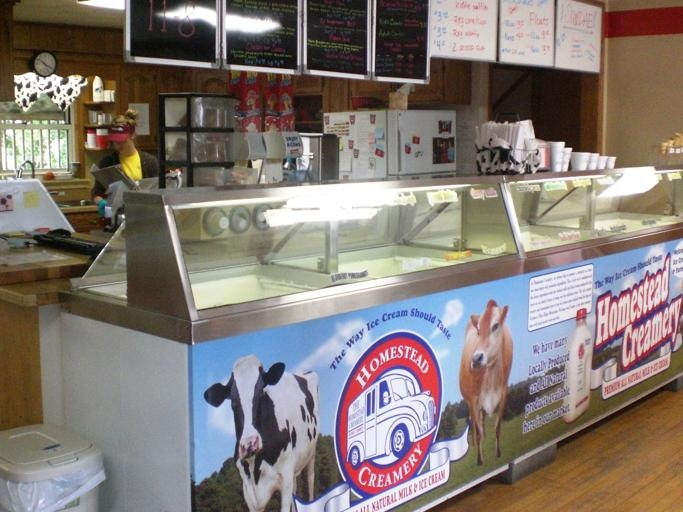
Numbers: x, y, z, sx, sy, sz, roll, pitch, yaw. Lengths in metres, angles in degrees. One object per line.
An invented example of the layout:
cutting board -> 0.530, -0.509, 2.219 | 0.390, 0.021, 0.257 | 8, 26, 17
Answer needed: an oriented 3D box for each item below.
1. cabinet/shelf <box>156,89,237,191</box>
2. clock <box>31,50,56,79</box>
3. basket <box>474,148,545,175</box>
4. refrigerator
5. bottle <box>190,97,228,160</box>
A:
cabinet/shelf -> -0.742, -0.543, 3.094 | 0.328, 0.591, 0.302 | -7, 12, -39
clock -> -3.742, -2.448, 7.454 | 0.092, 0.311, 0.285 | 6, 11, 42
basket -> 0.980, -0.569, 3.501 | 0.356, 0.155, 0.162 | 3, 11, 16
refrigerator -> 0.470, -0.922, 5.218 | 0.895, 0.614, 0.907 | -7, 9, -44
bottle -> -0.658, -0.639, 2.965 | 0.208, 0.309, 0.051 | -9, 13, -42
